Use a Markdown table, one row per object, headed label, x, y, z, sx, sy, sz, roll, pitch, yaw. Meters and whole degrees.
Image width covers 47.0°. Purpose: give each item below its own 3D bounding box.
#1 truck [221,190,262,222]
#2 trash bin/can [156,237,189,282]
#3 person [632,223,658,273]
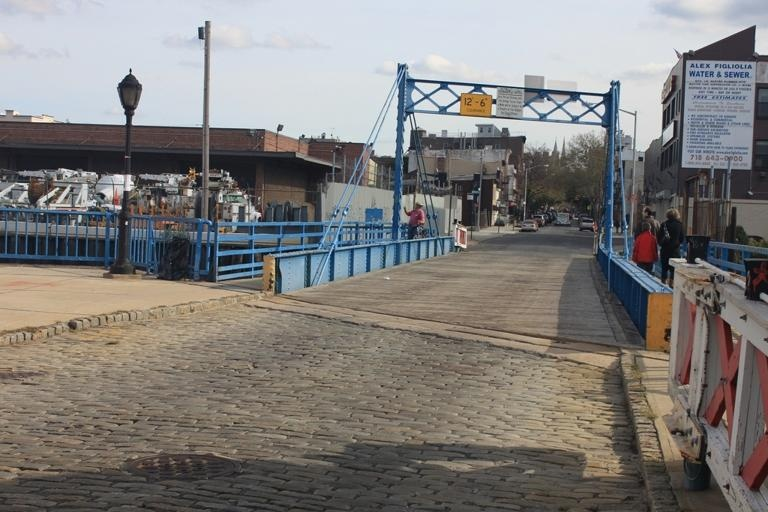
| label | x | y | z | sx | sy | sz | roll | pitch | yaw |
| --- | --- | --- | --- | --- | --- | --- | --- | --- | --- |
| truck | -6.502 | -2.106 | 38.023 | 1.302 | 0.929 | 1.802 | 1 | 6 | 12 |
| trash bin/can | -5.078 | 0.032 | 21.176 | 0.702 | 0.997 | 0.785 | -5 | 12 | -35 |
| person | 6.457 | -0.170 | 21.329 | 0.559 | 1.282 | 1.177 | 5 | 10 | 15 |
